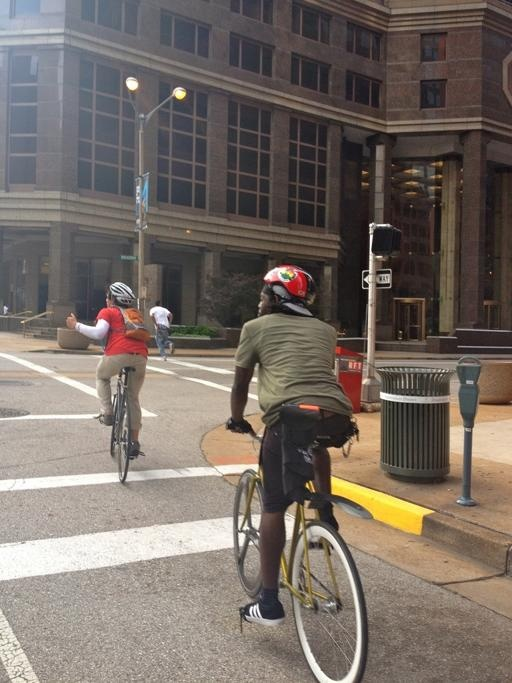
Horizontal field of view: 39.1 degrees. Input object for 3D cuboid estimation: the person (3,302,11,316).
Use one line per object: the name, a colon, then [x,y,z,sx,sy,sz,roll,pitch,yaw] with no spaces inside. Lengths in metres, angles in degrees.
person: [-14.778,-1.833,42.352,0.285,0.583,2.220,2,4,-23]

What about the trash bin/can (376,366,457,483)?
trash bin/can: [1.368,0.734,6.212,0.639,0.995,0.758,-2,-2,28]

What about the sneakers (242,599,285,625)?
sneakers: [0.035,1.192,3.245,0.090,0.119,0.235,4,-6,-35]

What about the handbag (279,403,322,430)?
handbag: [0.192,0.313,3.074,0.154,0.083,0.179,5,3,15]

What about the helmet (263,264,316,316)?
helmet: [0.163,-0.278,3.538,0.246,0.249,0.194,22,21,21]

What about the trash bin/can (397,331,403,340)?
trash bin/can: [10.993,-0.452,55.196,0.423,0.564,0.747,4,3,10]

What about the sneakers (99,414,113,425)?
sneakers: [-1.473,0.765,7.067,0.066,0.092,0.221,1,-10,-19]

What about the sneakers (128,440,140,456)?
sneakers: [-1.065,0.946,6.284,0.060,0.166,0.203,3,3,0]
